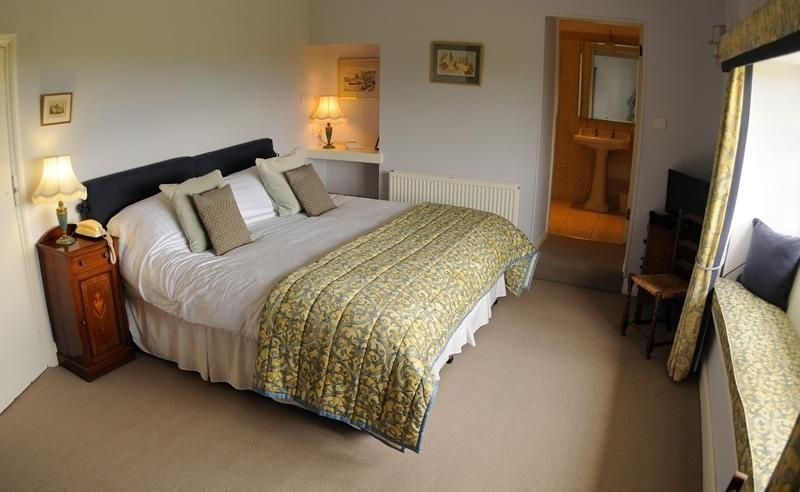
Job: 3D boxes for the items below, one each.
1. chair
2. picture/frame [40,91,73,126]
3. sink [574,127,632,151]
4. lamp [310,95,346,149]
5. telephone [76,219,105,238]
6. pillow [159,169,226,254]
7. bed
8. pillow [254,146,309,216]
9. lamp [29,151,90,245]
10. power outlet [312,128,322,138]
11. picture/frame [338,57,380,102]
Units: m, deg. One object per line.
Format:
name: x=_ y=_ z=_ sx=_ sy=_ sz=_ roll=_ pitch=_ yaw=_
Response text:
chair: x=2.812 y=0.296 z=5.566 sx=0.585 sy=1.329 sz=1.195 roll=11 pitch=23 yaw=30
picture/frame: x=-3.168 y=-1.259 z=4.726 sx=0.022 sy=0.261 sz=0.293 roll=14 pitch=23 yaw=29
sink: x=3.276 y=-1.708 z=8.379 sx=0.841 sy=0.343 sz=0.438 roll=10 pitch=22 yaw=25
lamp: x=-1.006 y=-1.740 z=7.352 sx=0.488 sy=0.699 sz=0.519 roll=-5 pitch=10 yaw=-25
telephone: x=-2.909 y=-0.162 z=4.868 sx=0.252 sy=0.121 sz=0.147 roll=4 pitch=13 yaw=12
pillow: x=-2.027 y=-0.295 z=5.075 sx=0.204 sy=0.690 sz=0.722 roll=-13 pitch=12 yaw=27
bed: x=-0.821 y=0.207 z=5.448 sx=3.538 sy=2.069 sz=2.721 roll=10 pitch=22 yaw=27
pillow: x=-1.346 y=-0.699 z=5.879 sx=0.192 sy=0.659 sz=0.661 roll=-11 pitch=11 yaw=36
lamp: x=-3.139 y=-0.418 z=4.788 sx=0.474 sy=0.805 sz=0.473 roll=-5 pitch=9 yaw=-18
power outlet: x=-1.197 y=-1.617 z=7.468 sx=0.036 sy=0.116 sz=0.162 roll=7 pitch=12 yaw=37
picture/frame: x=-0.559 y=-2.355 z=7.265 sx=0.662 sy=0.514 sz=0.026 roll=5 pitch=19 yaw=21
